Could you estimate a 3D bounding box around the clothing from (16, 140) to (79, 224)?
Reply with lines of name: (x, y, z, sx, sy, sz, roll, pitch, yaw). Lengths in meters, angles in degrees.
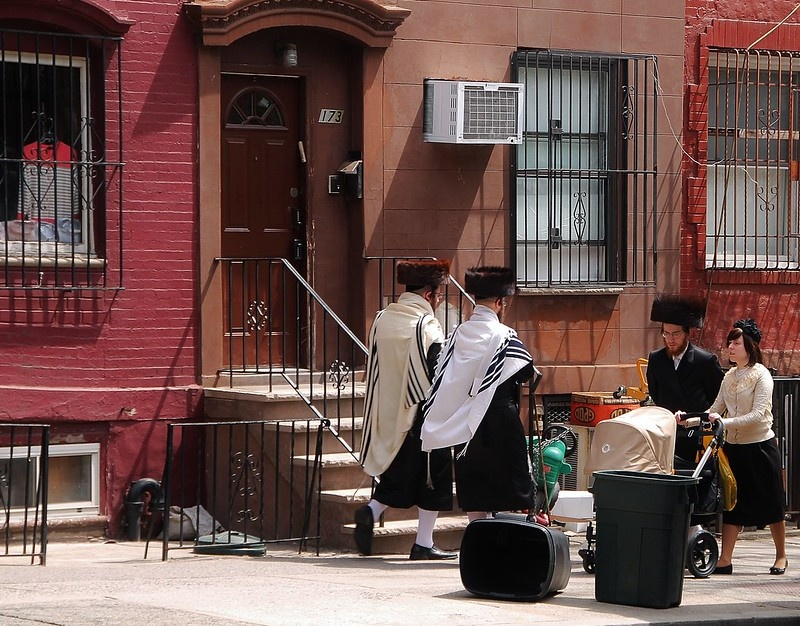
clothing: (-3.176, -1.166, 14.113, 0.711, 1.038, 0.047, 1, -5, -21)

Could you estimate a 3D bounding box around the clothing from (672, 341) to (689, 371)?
clothing: (2.232, 0.350, 12.530, 0.128, 0.110, 0.177, -13, 27, 42)

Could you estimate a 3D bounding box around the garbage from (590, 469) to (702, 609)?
garbage: (1.744, 1.619, 11.335, 0.825, 0.979, 0.645, 3, 2, 31)

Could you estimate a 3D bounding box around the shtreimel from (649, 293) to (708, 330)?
shtreimel: (2.221, -0.022, 12.451, 0.338, 0.197, 0.274, 2, 6, -32)

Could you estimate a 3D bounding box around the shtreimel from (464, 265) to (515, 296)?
shtreimel: (0.684, -0.241, 12.496, 0.260, 0.165, 0.267, 0, 3, -5)

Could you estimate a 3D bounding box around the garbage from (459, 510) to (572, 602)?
garbage: (0.828, 1.724, 11.173, 0.711, 0.597, 0.602, 2, -6, 22)

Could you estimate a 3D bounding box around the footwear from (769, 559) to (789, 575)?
footwear: (3.009, 2.053, 12.533, 0.076, 0.095, 0.220, -5, -10, 30)

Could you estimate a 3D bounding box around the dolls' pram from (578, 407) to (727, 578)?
dolls' pram: (1.931, 1.405, 12.341, 1.203, 1.326, 0.876, -1, 4, -44)

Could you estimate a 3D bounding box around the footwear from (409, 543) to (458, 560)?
footwear: (0.289, 1.920, 12.808, 0.416, 0.169, 0.143, -2, 0, -16)

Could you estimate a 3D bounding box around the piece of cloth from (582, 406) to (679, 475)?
piece of cloth: (1.770, 1.002, 12.109, 0.749, 0.525, 0.704, -3, 13, -24)

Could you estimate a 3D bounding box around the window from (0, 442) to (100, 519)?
window: (-3.119, 1.489, 13.936, 0.780, 0.591, 0.064, 1, -2, -30)

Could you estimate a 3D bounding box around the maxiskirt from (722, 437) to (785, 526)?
maxiskirt: (2.856, 1.347, 12.751, 0.471, 0.696, 0.351, 0, -8, 27)

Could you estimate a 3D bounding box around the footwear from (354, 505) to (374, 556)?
footwear: (-0.289, 1.757, 12.736, 0.133, 0.429, 0.170, 1, 10, 32)

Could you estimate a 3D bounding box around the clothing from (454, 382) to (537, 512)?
clothing: (0.798, 0.929, 12.437, 0.666, 1.276, 0.441, -9, -19, 44)
